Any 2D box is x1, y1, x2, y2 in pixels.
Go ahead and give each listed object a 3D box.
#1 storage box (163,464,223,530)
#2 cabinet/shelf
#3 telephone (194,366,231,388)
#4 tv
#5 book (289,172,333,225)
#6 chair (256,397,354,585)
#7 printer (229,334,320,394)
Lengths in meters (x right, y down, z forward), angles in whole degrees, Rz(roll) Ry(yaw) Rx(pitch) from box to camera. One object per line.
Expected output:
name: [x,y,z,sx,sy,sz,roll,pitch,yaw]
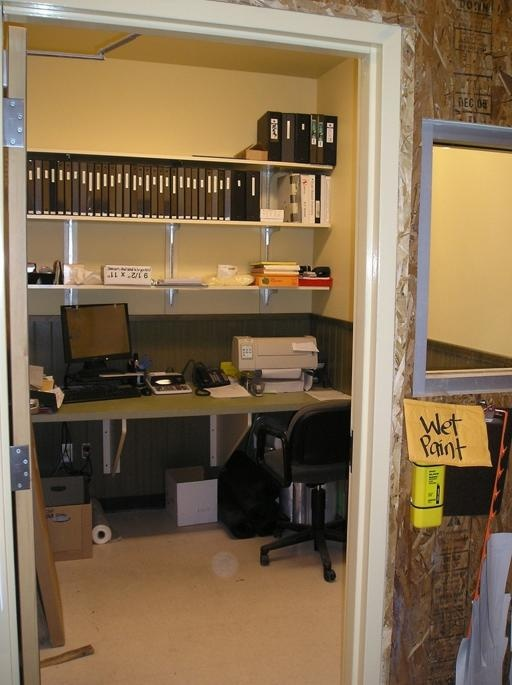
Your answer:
storage box: [-0.372,0.901,3.527,0.211,0.259,0.314,0,4,-17]
cabinet/shelf: [-0.404,-0.819,3.365,1.700,0.413,0.271,-2,-2,-16]
telephone: [-0.251,0.208,3.411,0.111,0.069,0.164,-6,30,-15]
tv: [-0.872,0.003,3.354,0.347,0.420,0.132,-4,-26,-18]
book: [0.298,-0.782,3.594,0.221,0.371,0.328,0,2,-19]
chair: [0.320,0.687,2.980,0.401,0.752,0.452,1,6,15]
printer: [0.116,0.101,3.483,0.411,0.346,0.328,0,11,-4]
